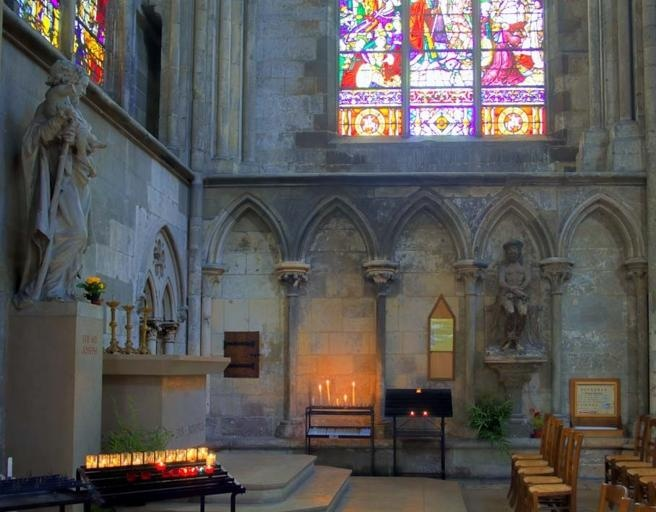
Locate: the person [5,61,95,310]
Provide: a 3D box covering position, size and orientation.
[{"bbox_3d":[-2.892,-0.747,14.400,0.846,2.591,0.614,1,-9,-14],"label":"person"}]

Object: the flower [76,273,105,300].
[{"bbox_3d":[-2.593,0.374,14.673,0.301,0.292,0.304,0,-4,29],"label":"flower"}]

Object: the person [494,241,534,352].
[{"bbox_3d":[2.537,0.571,18.345,0.455,1.490,0.269,-3,-9,7],"label":"person"}]

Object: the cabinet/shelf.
[{"bbox_3d":[0.179,2.510,17.898,0.895,0.911,0.299,0,-10,2],"label":"cabinet/shelf"}]

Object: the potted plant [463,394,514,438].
[{"bbox_3d":[2.161,2.176,17.993,0.484,0.546,0.537,0,-5,12],"label":"potted plant"}]
